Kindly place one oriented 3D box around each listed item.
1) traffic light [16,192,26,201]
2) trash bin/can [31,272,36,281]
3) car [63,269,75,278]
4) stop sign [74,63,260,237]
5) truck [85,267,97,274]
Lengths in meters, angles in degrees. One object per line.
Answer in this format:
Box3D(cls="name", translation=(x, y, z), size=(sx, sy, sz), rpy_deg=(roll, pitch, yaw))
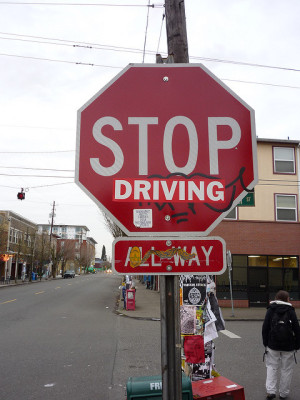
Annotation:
Box3D(cls="traffic light", translation=(-8.307, -0.232, 21.966), size=(0.385, 0.573, 1.112), rpy_deg=(5, -10, -25))
Box3D(cls="trash bin/can", translation=(-16.217, 10.587, 47.366), size=(0.471, 0.953, 2.111), rpy_deg=(3, -9, -14))
Box3D(cls="car", translation=(-15.639, 14.229, 65.701), size=(1.183, 1.463, 2.728), rpy_deg=(0, -21, -1))
Box3D(cls="stop sign", translation=(0.078, -0.238, 1.660), size=(0.675, 0.880, 0.057), rpy_deg=(0, -16, -7))
Box3D(cls="truck", translation=(-19.066, 22.595, 109.840), size=(1.742, 2.040, 5.284), rpy_deg=(-2, -10, 18))
